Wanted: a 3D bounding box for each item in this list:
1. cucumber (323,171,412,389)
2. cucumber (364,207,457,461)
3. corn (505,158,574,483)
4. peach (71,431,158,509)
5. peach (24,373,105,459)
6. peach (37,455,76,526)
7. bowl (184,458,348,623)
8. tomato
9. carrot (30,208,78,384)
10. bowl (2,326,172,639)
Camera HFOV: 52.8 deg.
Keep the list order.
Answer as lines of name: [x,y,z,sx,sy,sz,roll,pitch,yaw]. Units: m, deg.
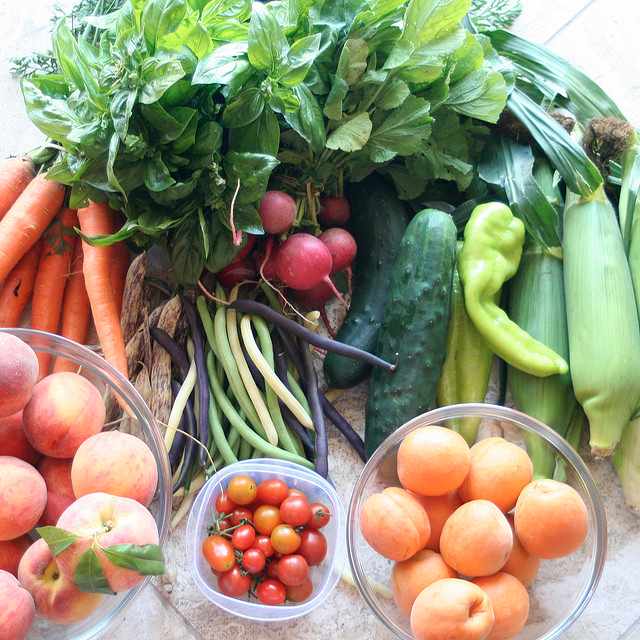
cucumber: [0.075,-0.045,1.008,0.113,0.343,0.139,4,28,7]
cucumber: [0.133,0.013,0.961,0.090,0.437,0.111,6,-5,34]
corn: [0.324,0.013,0.953,0.066,0.506,0.077,1,-10,9]
peach: [-0.221,0.161,0.703,0.071,0.107,0.083,0,-15,-8]
peach: [-0.290,0.106,0.777,0.075,0.087,0.113,-1,65,-8]
peach: [-0.296,0.191,0.731,0.052,0.078,0.064,0,-2,-2]
bowl: [-0.067,0.293,0.873,0.221,0.207,0.197,-2,34,-1]
tomato: [-0.069,0.301,0.868,0.162,0.123,0.132,2,33,6]
carrot: [-0.396,-0.039,0.960,0.034,0.261,0.039,7,0,9]
bowl: [-0.308,0.197,0.904,0.278,0.358,0.193,0,-4,-17]
